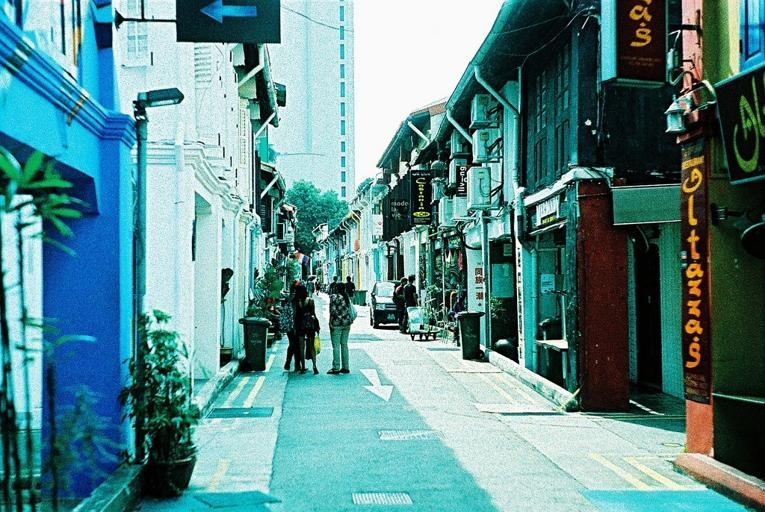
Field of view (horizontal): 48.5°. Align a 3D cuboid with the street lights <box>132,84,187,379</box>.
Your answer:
[{"bbox_3d":[-3.002,-0.467,10.900,0.642,3.328,0.560,-3,21,-30],"label":"street lights"}]

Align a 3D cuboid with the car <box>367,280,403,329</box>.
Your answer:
[{"bbox_3d":[0.237,1.405,30.072,1.179,1.345,2.466,1,13,-1],"label":"car"}]

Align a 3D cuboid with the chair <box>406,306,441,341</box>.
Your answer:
[{"bbox_3d":[1.081,1.992,25.044,0.713,1.069,1.122,2,1,-4],"label":"chair"}]

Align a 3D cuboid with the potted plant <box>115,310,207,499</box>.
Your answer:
[{"bbox_3d":[-2.641,1.810,10.119,0.849,2.216,0.432,-1,4,-15],"label":"potted plant"}]

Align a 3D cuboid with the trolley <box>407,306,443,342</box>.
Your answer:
[{"bbox_3d":[0.918,1.939,25.219,0.979,1.002,1.360,-6,0,-17],"label":"trolley"}]

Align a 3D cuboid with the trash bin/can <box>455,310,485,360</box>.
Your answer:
[{"bbox_3d":[2.135,1.793,20.479,0.722,1.180,0.810,-2,6,-4],"label":"trash bin/can"}]

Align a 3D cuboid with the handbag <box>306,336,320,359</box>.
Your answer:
[{"bbox_3d":[-1.499,1.936,18.171,0.207,0.574,0.587,6,-13,-23],"label":"handbag"}]
